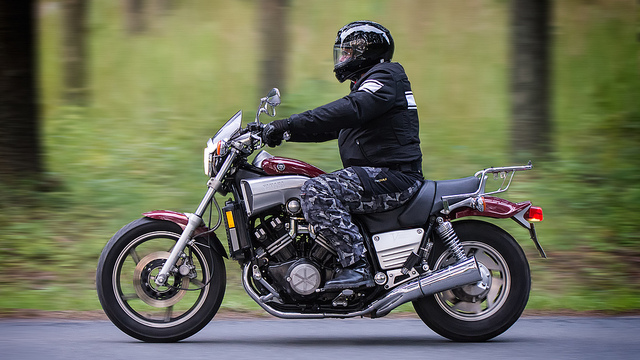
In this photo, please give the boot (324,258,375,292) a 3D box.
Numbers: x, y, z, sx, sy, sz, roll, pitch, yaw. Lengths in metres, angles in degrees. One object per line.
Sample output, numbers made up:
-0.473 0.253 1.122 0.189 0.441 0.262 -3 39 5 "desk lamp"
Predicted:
0.287 1.150 8.480 0.721 0.343 0.283 -2 -17 -42 "boot"
